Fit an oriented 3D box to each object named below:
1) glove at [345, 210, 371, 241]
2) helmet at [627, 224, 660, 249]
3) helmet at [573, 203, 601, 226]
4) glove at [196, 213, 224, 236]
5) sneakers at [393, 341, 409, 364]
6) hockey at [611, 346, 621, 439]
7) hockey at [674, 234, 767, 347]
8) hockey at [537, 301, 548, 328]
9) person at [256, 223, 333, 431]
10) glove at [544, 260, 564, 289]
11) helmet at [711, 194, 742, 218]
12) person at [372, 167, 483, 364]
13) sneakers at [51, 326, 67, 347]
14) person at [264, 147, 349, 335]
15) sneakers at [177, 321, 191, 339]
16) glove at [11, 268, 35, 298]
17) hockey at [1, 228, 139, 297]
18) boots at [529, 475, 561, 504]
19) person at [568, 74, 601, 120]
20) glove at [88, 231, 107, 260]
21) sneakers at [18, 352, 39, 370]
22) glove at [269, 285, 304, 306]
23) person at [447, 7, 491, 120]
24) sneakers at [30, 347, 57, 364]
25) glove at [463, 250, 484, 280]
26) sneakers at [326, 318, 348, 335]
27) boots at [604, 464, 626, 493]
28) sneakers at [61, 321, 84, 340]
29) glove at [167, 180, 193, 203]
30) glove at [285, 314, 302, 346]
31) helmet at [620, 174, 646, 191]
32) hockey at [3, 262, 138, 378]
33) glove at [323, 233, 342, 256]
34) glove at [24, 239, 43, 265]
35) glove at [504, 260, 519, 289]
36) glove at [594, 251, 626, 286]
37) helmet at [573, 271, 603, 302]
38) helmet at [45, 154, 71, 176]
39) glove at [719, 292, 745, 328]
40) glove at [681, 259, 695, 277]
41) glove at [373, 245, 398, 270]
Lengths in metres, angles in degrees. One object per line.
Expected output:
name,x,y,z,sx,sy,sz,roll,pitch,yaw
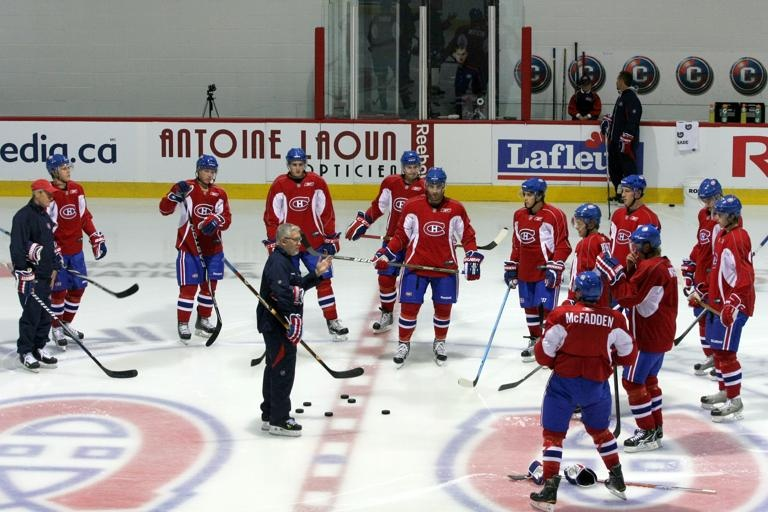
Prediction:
glove,-0.324,-0.356,13.466,0.246,0.370,0.157,38,0,18
helmet,2.602,-0.197,10.895,0.254,0.243,0.206,7,9,15
helmet,2.210,-0.456,11.853,0.265,0.251,0.221,7,6,8
glove,-2.066,-0.390,12.937,0.249,0.108,0.240,-45,33,-20
sneakers,0.191,1.083,12.512,0.168,0.232,0.394,1,9,15
hockey,2.320,1.372,10.902,0.098,0.993,0.135,-4,-3,13
hockey,3.778,0.430,12.211,0.268,1.841,0.150,12,45,-22
hockey,1.857,0.660,12.700,0.182,0.257,0.078,-3,0,11
person,-1.036,0.749,10.929,0.478,2.115,0.370,-2,9,-5
glove,1.911,0.200,12.307,0.210,0.276,0.126,8,-6,34
helmet,3.604,-0.525,11.470,0.251,0.206,0.203,10,19,7
person,0.523,0.089,12.524,1.174,2.182,0.719,-1,9,4
sneakers,-3.830,0.937,12.816,0.103,0.154,0.335,-11,20,-30
person,-0.976,-0.136,13.436,0.896,2.507,0.624,-1,20,3
sneakers,-2.401,0.872,13.053,0.157,0.213,0.278,-3,9,-11
glove,-3.975,0.275,12.040,0.243,0.368,0.264,-1,17,-8
hockey,-3.914,0.106,13.466,1.570,0.276,0.136,32,26,-29
boots,1.495,2.161,10.128,0.270,0.296,0.204,0,9,9
person,3.684,-2.903,20.036,0.545,0.761,0.785,0,9,6
glove,-3.519,-0.122,13.326,0.234,0.391,0.167,-14,0,-6
sneakers,-3.965,1.163,12.179,0.300,0.121,0.111,10,17,43
glove,-0.945,0.388,10.825,0.253,0.117,0.189,1,9,-14
person,1.545,-3.585,19.845,0.718,2.113,0.376,-1,9,3
sneakers,-3.868,1.113,12.339,0.339,0.151,0.115,12,21,19
glove,1.015,0.096,12.509,0.227,0.316,0.124,5,-5,3
sneakers,-0.551,0.848,13.123,0.120,0.143,0.302,-22,17,-36
boots,2.191,2.078,10.271,0.127,0.214,0.303,-7,14,-1
sneakers,-3.704,0.878,12.888,0.258,0.101,0.089,31,66,29
glove,-2.436,-0.752,12.889,0.124,0.195,0.269,44,-31,-24
glove,-0.901,0.718,10.840,0.135,0.342,0.177,-3,9,-9
helmet,2.827,-0.842,12.360,0.251,0.249,0.195,9,2,5
hockey,-3.724,0.793,12.799,1.615,0.191,0.240,44,9,13
glove,-0.644,-0.156,13.414,0.204,0.290,0.288,0,-1,2
glove,-3.886,-0.039,12.094,0.206,0.211,0.147,14,25,14
glove,1.470,0.191,12.646,0.193,0.279,0.107,-1,4,11
glove,2.314,0.139,11.080,0.345,0.222,0.139,57,7,37
helmet,1.878,0.274,10.204,0.222,0.294,0.279,2,8,-7
helmet,-3.934,-1.105,13.018,0.302,0.297,0.241,-2,13,5
glove,3.581,0.547,11.219,0.191,0.331,0.118,27,4,24
glove,3.516,0.121,12.593,0.183,0.175,0.137,2,3,-7
glove,-0.011,0.026,12.642,0.199,0.123,0.269,-25,9,-8
